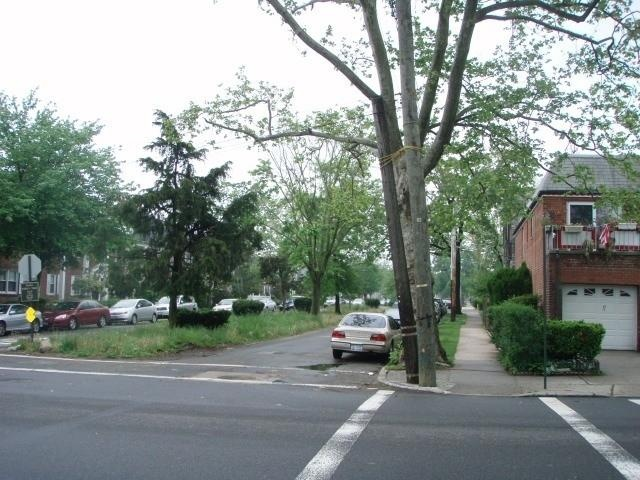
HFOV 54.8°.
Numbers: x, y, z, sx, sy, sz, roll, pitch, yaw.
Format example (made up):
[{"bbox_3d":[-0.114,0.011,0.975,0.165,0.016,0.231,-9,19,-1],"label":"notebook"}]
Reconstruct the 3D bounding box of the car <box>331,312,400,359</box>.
[{"bbox_3d":[1.568,3.293,21.235,2.300,1.581,1.344,-2,-7,0],"label":"car"}]
